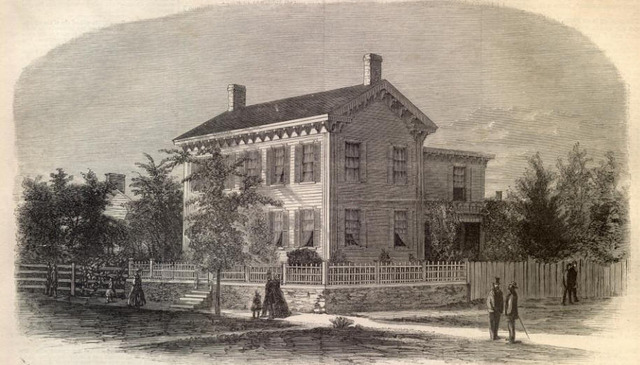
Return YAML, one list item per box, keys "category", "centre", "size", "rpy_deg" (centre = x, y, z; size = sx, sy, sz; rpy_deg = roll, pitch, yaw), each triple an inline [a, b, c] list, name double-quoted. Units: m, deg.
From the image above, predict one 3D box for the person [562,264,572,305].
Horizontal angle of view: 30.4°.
- category: "person"
  centre: [14.594, 6.059, 69.808]
  size: [0.537, 2.377, 1.478]
  rpy_deg: [-1, -9, 11]
